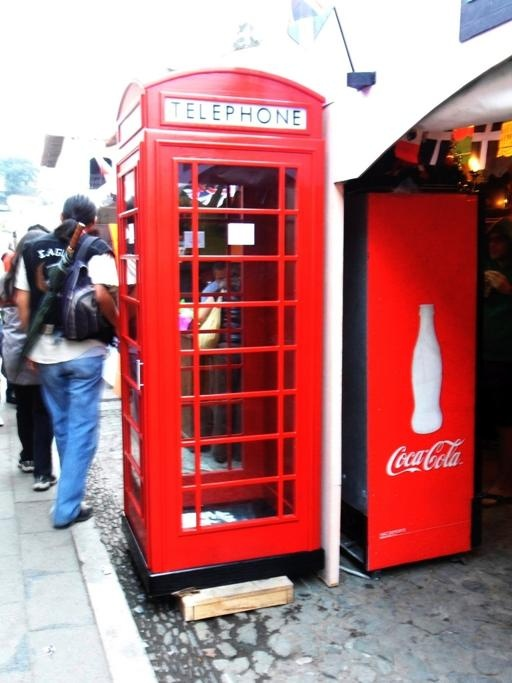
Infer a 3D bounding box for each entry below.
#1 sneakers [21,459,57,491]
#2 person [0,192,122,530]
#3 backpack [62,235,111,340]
[{"bbox_3d":[-1.529,0.929,4.163,0.143,0.172,0.405,-1,2,-31],"label":"sneakers"},{"bbox_3d":[-1.097,0.103,3.443,0.753,1.928,0.364,5,5,35],"label":"person"},{"bbox_3d":[-0.930,-0.289,3.283,0.294,0.612,0.211,0,4,-18],"label":"backpack"}]
